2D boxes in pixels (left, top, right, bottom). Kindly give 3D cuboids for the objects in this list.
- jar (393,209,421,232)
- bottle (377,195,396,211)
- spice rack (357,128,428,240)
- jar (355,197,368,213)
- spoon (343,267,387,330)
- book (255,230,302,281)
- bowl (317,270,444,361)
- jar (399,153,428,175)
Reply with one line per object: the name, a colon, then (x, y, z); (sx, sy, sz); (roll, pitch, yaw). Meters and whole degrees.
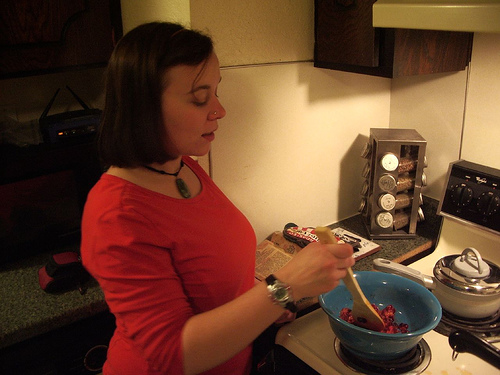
jar: (0.681, 0.141, 1.641); (0.107, 0.031, 0.036); (-26, 47, 10)
bottle: (0.577, 0.061, 1.601); (0.062, 0.064, 0.060); (-13, 13, -17)
spice rack: (0.617, -0.004, 1.694); (0.234, 0.536, 0.212); (0, 23, -8)
jar: (0.509, 0.083, 1.749); (0.053, 0.073, 0.100); (10, -18, 4)
spoon: (0.295, 0.321, 1.042); (0.106, 0.021, 0.278); (14, 18, 0)
book: (0.089, 0.265, 1.472); (0.148, 0.037, 0.141); (-31, 25, -13)
bowl: (0.376, 0.357, 1.056); (0.272, 0.113, 0.280); (-1, 26, 0)
jar: (0.662, -0.095, 1.573); (0.075, 0.082, 0.047); (0, 14, 12)
